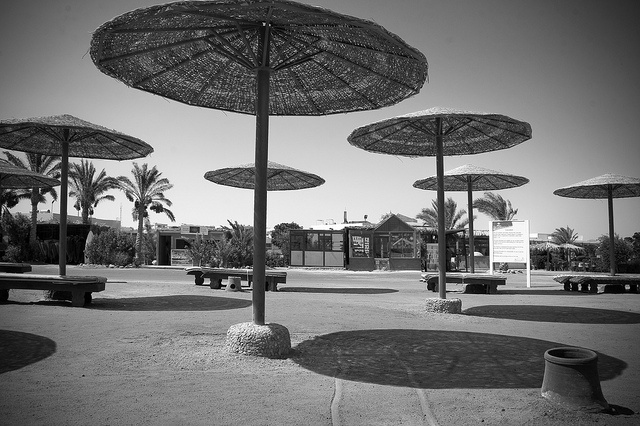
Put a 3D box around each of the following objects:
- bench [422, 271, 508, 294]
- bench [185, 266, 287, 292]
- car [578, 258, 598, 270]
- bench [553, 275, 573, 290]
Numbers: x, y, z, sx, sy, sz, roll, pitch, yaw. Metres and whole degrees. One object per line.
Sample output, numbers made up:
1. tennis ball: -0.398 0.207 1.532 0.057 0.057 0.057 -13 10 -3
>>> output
1. bench: 5.319 2.614 19.022 2.618 0.813 1.503 1 2 -11
2. bench: -3.253 2.448 19.704 4.165 1.051 1.887 3 2 42
3. car: 21.251 4.034 40.729 1.270 0.728 6.078 2 2 26
4. bench: 9.873 2.806 20.777 0.750 0.284 0.774 -1 -2 34
